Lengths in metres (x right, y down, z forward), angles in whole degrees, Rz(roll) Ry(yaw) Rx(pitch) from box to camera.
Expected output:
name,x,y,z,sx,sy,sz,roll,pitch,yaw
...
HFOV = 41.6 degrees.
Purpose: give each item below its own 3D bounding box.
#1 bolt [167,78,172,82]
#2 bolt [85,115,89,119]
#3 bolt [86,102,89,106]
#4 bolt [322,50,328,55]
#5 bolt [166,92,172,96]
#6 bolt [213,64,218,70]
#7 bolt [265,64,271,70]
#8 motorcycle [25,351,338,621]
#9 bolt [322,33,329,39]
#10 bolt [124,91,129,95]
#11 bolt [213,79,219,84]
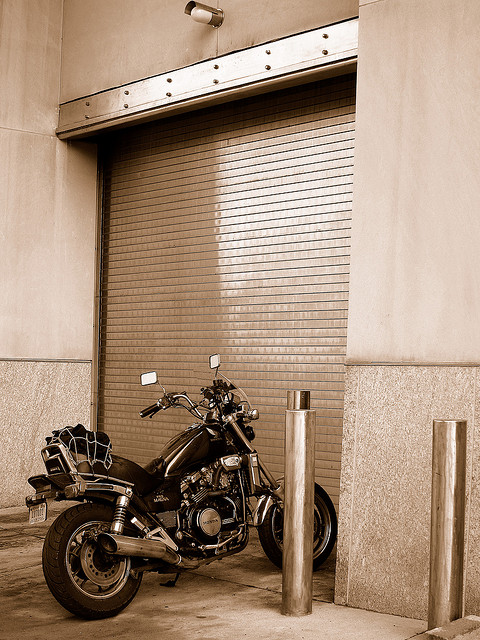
name,x,y,z,sx,sy,sz,roll,pitch,yaw
bolt,-0.626,-2.136,5.618,0.054,0.042,0.007,-6,-10,39
bolt,-1.567,-2.079,6.471,0.062,0.049,0.008,-7,-11,43
bolt,-1.562,-2.216,6.476,0.029,0.031,0.030,5,7,39
bolt,0.599,-1.892,4.465,0.037,0.042,0.009,3,2,29
bolt,-0.636,-2.006,5.612,0.030,0.034,0.018,3,-22,9
bolt,-0.198,-2.099,5.237,0.047,0.044,0.011,-7,-11,44
bolt,0.213,-1.939,4.841,0.027,0.041,0.014,1,-27,5
motorcycle,-0.256,0.888,3.486,1.732,1.094,0.528,1,-14,-41
bolt,0.601,-2.004,4.460,0.048,0.046,0.011,-6,-10,37
bolt,-1.085,-2.177,6.046,0.064,0.039,0.008,-5,-9,34
bolt,-0.200,-1.982,5.246,0.061,0.045,0.008,-5,-9,31
